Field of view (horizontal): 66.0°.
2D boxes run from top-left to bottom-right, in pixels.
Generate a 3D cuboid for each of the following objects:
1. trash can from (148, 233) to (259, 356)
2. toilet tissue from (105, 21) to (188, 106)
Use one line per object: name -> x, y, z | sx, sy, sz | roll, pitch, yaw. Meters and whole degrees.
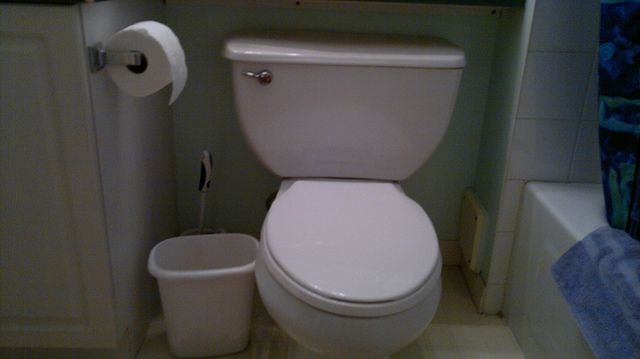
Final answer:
trash can -> -0.420, 0.392, 1.854 | 0.405, 0.439, 0.367 | 2, 2, -10
toilet tissue -> -0.526, -0.373, 1.590 | 0.217, 0.226, 0.263 | -2, 13, 5
